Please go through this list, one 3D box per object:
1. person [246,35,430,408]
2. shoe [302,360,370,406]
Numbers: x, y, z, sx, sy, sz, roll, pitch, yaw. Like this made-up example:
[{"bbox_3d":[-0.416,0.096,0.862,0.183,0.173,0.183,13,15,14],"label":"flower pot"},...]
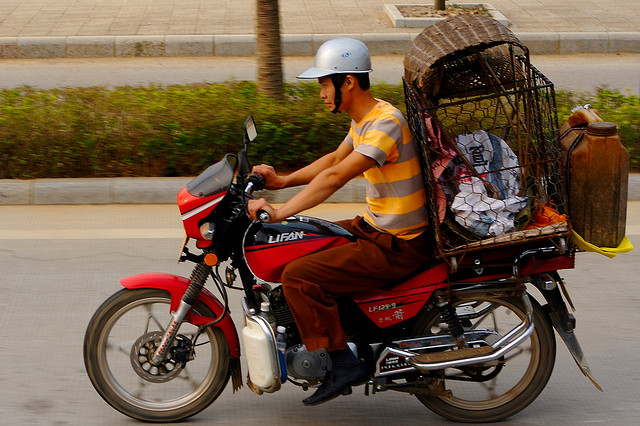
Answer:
[{"bbox_3d":[0.128,0.045,3.862,1.029,2.250,0.498,-19,20,-29],"label":"person"},{"bbox_3d":[0.113,1.075,3.979,0.664,0.159,0.174,-14,-13,2],"label":"shoe"}]
